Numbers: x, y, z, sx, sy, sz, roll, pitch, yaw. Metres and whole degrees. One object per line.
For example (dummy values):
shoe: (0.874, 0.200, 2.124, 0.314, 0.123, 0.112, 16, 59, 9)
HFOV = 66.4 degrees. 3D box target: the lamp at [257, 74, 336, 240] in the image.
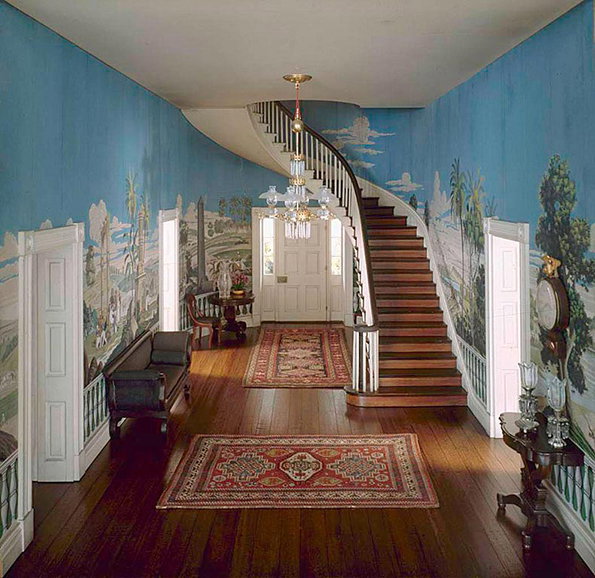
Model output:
lamp: (0.008, -2.045, 6.984, 1.015, 2.516, 1.191, 0, 2, -13)

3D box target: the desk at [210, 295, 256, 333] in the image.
desk: (-1.585, 0.622, 10.808, 0.802, 1.037, 1.000, -4, -4, 1)

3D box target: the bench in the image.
bench: (-2.024, 1.262, 6.452, 0.697, 1.003, 2.417, 0, 4, -4)

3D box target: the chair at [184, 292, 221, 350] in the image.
chair: (-2.058, 0.644, 9.982, 0.655, 1.245, 0.664, 0, 6, 11)

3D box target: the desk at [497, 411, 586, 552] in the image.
desk: (1.958, 1.576, 3.755, 0.401, 0.813, 0.825, 4, 2, 5)
